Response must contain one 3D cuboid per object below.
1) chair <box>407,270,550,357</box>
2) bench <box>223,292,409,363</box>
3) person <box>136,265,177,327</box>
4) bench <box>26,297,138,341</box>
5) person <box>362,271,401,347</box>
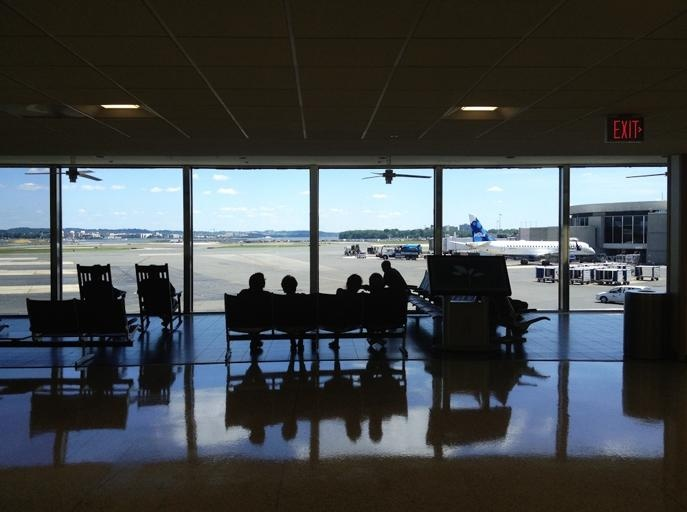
[{"bbox_3d":[1.948,0.767,8.824,1.854,1.062,2.014,1,9,4],"label":"chair"},{"bbox_3d":[-0.273,0.917,7.434,2.317,0.896,0.686,0,2,-13],"label":"bench"},{"bbox_3d":[-3.088,0.615,9.516,0.652,1.052,0.795,-1,8,-11],"label":"person"},{"bbox_3d":[-3.296,0.850,7.527,1.405,0.612,0.743,-2,0,14],"label":"bench"},{"bbox_3d":[0.477,0.765,8.032,0.712,1.101,1.057,2,0,-4],"label":"person"}]
